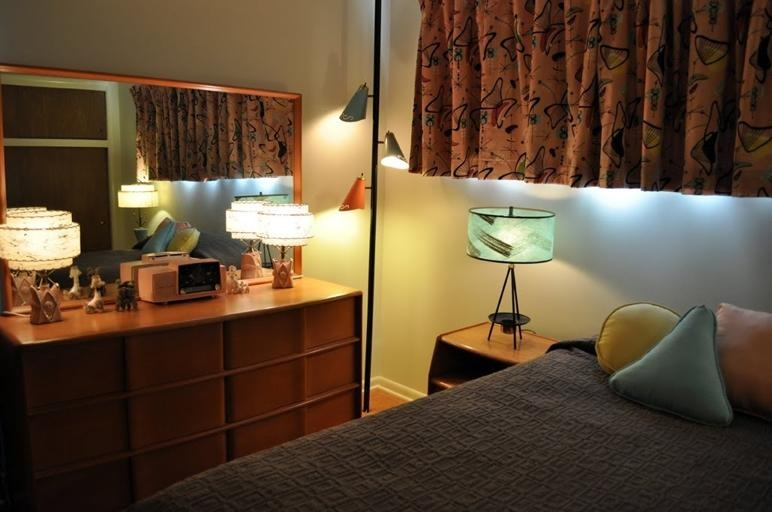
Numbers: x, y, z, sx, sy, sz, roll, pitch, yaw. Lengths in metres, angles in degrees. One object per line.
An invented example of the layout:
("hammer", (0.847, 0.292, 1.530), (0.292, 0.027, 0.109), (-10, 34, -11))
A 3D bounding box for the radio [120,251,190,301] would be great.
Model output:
("radio", (-1.257, 0.065, 3.001), (0.288, 0.183, 0.293), (12, 13, 39))

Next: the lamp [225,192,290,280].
("lamp", (-0.852, -0.122, 3.549), (0.334, 0.498, 0.322), (-5, 13, -26))

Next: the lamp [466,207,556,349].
("lamp", (0.752, 0.104, 3.310), (0.528, 0.807, 0.527), (5, 13, 17))

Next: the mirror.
("mirror", (-1.368, -0.352, 3.038), (1.558, 0.977, 0.040), (-1, 7, -32))

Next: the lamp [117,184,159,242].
("lamp", (-1.443, -0.245, 3.170), (0.217, 0.329, 0.216), (2, 9, 10))

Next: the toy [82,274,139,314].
("toy", (-1.438, 0.219, 2.845), (0.313, 0.220, 0.139), (1, 2, -32))

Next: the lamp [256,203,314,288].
("lamp", (-0.649, -0.060, 3.457), (0.379, 0.543, 0.357), (0, 8, -23))

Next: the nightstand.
("nightstand", (0.620, 0.607, 3.244), (0.453, 0.590, 0.610), (-7, 12, -33))
